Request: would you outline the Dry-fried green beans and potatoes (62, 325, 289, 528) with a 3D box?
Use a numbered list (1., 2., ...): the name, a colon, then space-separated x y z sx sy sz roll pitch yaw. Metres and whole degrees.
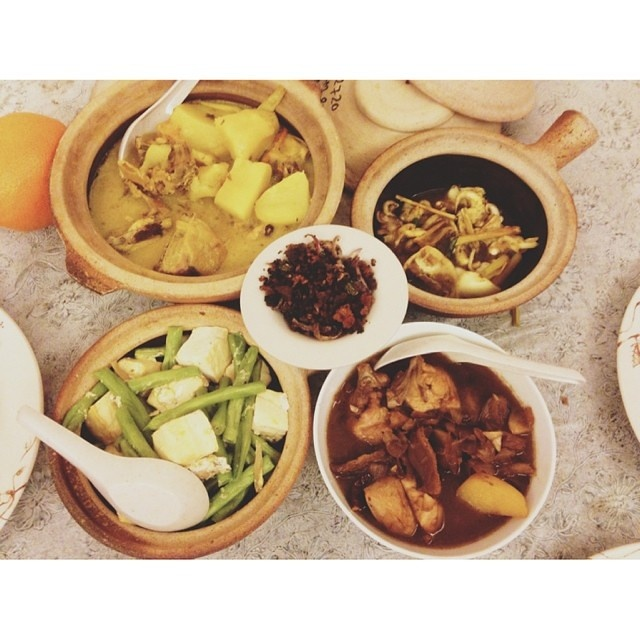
1. Dry-fried green beans and potatoes: -0.354 0.298 1.912 0.556 0.252 0.522 22 87 6
